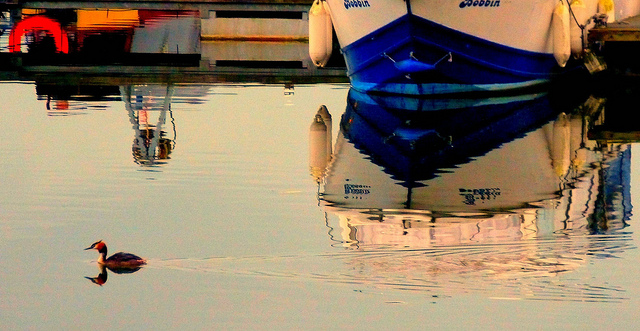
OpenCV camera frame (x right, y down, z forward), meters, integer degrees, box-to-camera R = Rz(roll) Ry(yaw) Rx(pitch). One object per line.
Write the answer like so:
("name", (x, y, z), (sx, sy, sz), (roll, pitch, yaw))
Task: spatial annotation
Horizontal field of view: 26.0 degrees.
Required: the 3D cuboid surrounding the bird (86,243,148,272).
("bird", (-4.069, 1.858, 28.303), (1.322, 0.658, 0.397), (-1, 9, -32))
